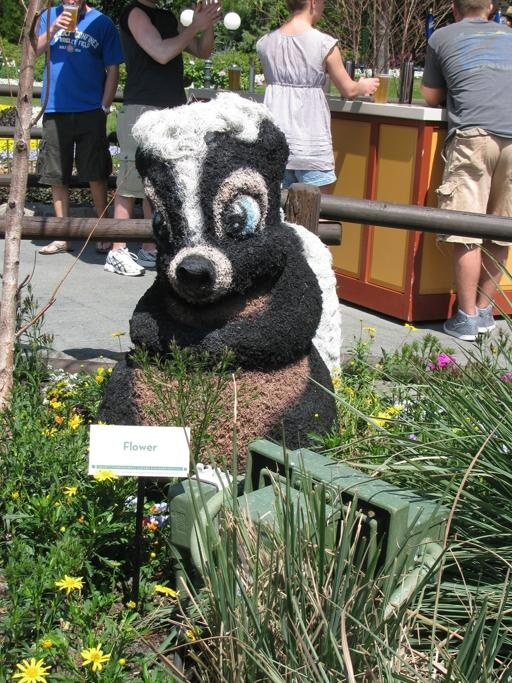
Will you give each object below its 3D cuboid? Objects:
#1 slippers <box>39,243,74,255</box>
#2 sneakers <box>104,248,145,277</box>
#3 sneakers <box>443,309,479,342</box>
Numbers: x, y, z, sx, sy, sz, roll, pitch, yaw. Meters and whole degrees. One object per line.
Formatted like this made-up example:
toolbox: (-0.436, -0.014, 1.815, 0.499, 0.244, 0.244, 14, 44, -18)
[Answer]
slippers: (-1.866, -0.866, 6.339, 0.116, 0.100, 0.296, 5, 5, 45)
sneakers: (-1.125, -0.681, 5.772, 0.429, 0.197, 0.175, 18, 25, 34)
sneakers: (1.406, -0.100, 4.614, 0.160, 0.188, 0.368, -4, 17, -16)
